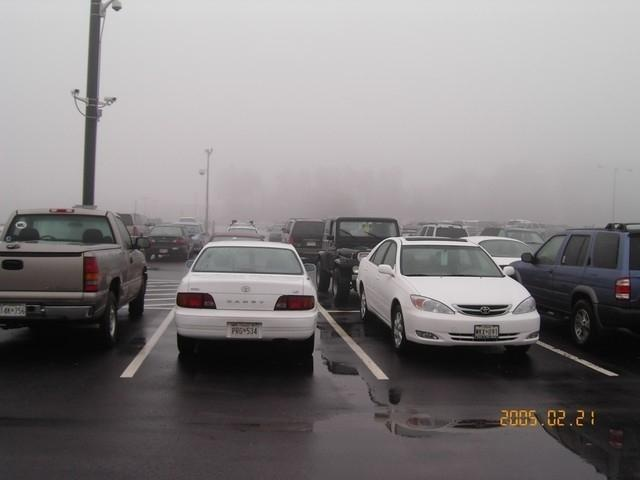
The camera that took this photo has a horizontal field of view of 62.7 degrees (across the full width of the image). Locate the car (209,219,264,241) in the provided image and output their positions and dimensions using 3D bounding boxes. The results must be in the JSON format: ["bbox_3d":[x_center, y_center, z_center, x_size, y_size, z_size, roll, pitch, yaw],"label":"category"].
[{"bbox_3d":[-2.574,-0.264,16.635,1.013,0.785,2.237,1,-2,-9],"label":"car"}]

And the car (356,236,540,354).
[{"bbox_3d":[2.075,0.895,8.902,1.987,1.807,2.903,0,3,-12],"label":"car"}]

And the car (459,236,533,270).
[{"bbox_3d":[5.130,0.229,14.734,1.932,0.665,0.851,-3,19,15],"label":"car"}]

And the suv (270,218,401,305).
[{"bbox_3d":[0.844,0.432,14.566,2.063,1.614,3.585,0,0,-14],"label":"suv"}]

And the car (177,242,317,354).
[{"bbox_3d":[-1.139,0.742,8.067,1.273,0.944,2.263,0,8,-5],"label":"car"}]
